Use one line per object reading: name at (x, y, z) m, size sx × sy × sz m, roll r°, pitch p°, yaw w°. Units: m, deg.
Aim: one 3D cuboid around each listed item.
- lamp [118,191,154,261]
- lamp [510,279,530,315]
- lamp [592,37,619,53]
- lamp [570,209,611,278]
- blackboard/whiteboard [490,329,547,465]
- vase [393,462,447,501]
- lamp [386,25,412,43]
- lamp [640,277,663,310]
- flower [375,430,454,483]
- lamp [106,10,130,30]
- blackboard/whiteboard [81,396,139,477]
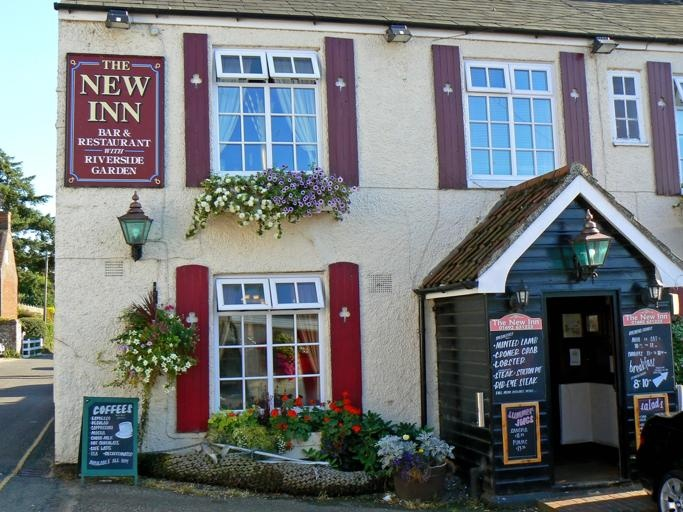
lamp at (-3.258, -0.457, 14.419) m, size 0.510 × 1.067 × 0.497 m, roll 0°, pitch 4°, yaw -12°
lamp at (2.673, 0.604, 13.637) m, size 0.281 × 0.458 × 0.213 m, roll 2°, pitch 4°, yaw 12°
lamp at (4.640, -3.711, 16.052) m, size 0.397 × 0.262 × 0.291 m, roll 1°, pitch -4°, yaw -13°
lamp at (3.731, -0.200, 13.682) m, size 0.445 × 0.953 × 0.495 m, roll -3°, pitch -2°, yaw -22°
blackboard/whiteboard at (2.643, 2.103, 13.529) m, size 0.838 × 1.925 × 0.301 m, roll 0°, pitch 4°, yaw -14°
vase at (1.212, 3.374, 13.544) m, size 0.732 × 0.517 × 0.226 m, roll 0°, pitch 4°, yaw -3°
lamp at (0.978, -3.817, 15.537) m, size 0.428 × 0.304 × 0.365 m, roll 1°, pitch 4°, yaw 2°
lamp at (4.803, 0.581, 14.064) m, size 0.363 × 0.465 × 0.275 m, roll 1°, pitch 4°, yaw 8°
flower at (1.112, 2.968, 13.788) m, size 0.929 × 0.778 × 0.899 m, roll 0°, pitch -7°, yaw -12°
lamp at (-3.622, -3.828, 14.713) m, size 0.299 × 0.248 × 0.301 m, roll -1°, pitch 3°, yaw -23°
blackboard/whiteboard at (-3.482, 2.733, 13.645) m, size 1.212 × 1.712 × 0.129 m, roll 0°, pitch -11°, yaw -8°
